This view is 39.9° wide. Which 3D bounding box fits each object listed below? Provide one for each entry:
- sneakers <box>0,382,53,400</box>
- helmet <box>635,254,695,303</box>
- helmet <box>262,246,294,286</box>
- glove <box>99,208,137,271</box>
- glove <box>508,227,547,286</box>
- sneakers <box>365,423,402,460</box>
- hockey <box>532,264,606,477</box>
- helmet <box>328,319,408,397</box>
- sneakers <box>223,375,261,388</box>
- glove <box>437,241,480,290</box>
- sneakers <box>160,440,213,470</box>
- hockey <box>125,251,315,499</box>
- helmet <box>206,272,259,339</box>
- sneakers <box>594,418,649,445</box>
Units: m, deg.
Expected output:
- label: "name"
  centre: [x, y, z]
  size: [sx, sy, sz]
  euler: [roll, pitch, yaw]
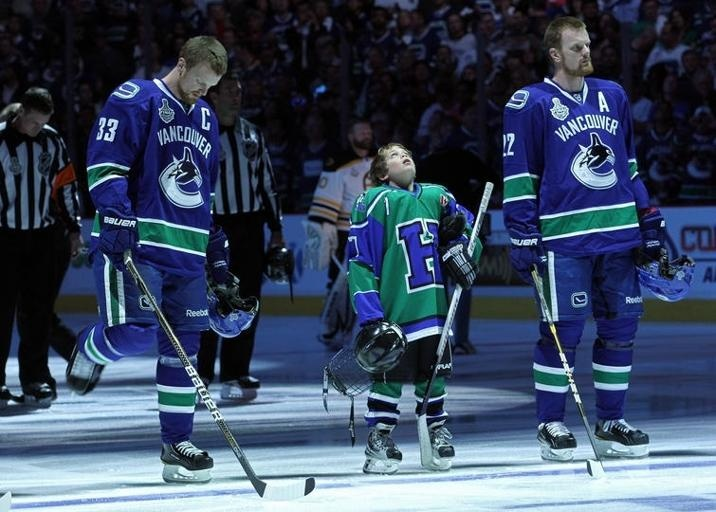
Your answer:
- label: "sneakers"
  centre: [-2.097, 0.843, 6.204]
  size: [0.330, 0.113, 0.110]
  euler: [1, -6, 6]
- label: "helmet"
  centre: [1.561, 0.116, 4.949]
  size: [0.288, 0.200, 0.223]
  euler: [-2, 4, 10]
- label: "helmet"
  centre: [-0.508, 0.072, 6.616]
  size: [0.194, 0.222, 0.246]
  euler: [1, -9, -6]
- label: "glove"
  centre: [-1.046, -0.089, 4.365]
  size: [0.187, 0.223, 0.087]
  euler: [8, 1, 12]
- label: "glove"
  centre: [0.832, 0.005, 4.746]
  size: [0.186, 0.211, 0.098]
  euler: [2, 10, 39]
- label: "sneakers"
  centre: [0.123, 0.868, 4.588]
  size: [0.166, 0.153, 0.102]
  euler: [-1, 4, 0]
- label: "hockey"
  centre: [1.047, 0.574, 4.861]
  size: [0.196, 0.985, 0.075]
  euler: [-4, -23, -46]
- label: "helmet"
  centre: [0.057, 0.465, 4.633]
  size: [0.442, 0.253, 0.162]
  euler: [-35, 2, 31]
- label: "sneakers"
  centre: [-0.763, 0.819, 6.482]
  size: [0.239, 0.090, 0.084]
  euler: [2, -6, 14]
- label: "glove"
  centre: [0.436, 0.058, 4.715]
  size: [0.092, 0.211, 0.210]
  euler: [-26, 19, 46]
- label: "sneakers"
  centre: [-0.807, 0.909, 4.518]
  size: [0.286, 0.109, 0.102]
  euler: [-3, -3, 38]
- label: "hockey"
  centre: [-0.756, 0.657, 5.290]
  size: [0.334, 1.609, 0.079]
  euler: [-22, -39, -15]
- label: "helmet"
  centre: [-0.655, 0.270, 4.880]
  size: [0.210, 0.323, 0.204]
  euler: [-23, -10, -34]
- label: "sneakers"
  centre: [1.286, 0.863, 4.853]
  size: [0.282, 0.109, 0.104]
  euler: [-4, -5, 42]
